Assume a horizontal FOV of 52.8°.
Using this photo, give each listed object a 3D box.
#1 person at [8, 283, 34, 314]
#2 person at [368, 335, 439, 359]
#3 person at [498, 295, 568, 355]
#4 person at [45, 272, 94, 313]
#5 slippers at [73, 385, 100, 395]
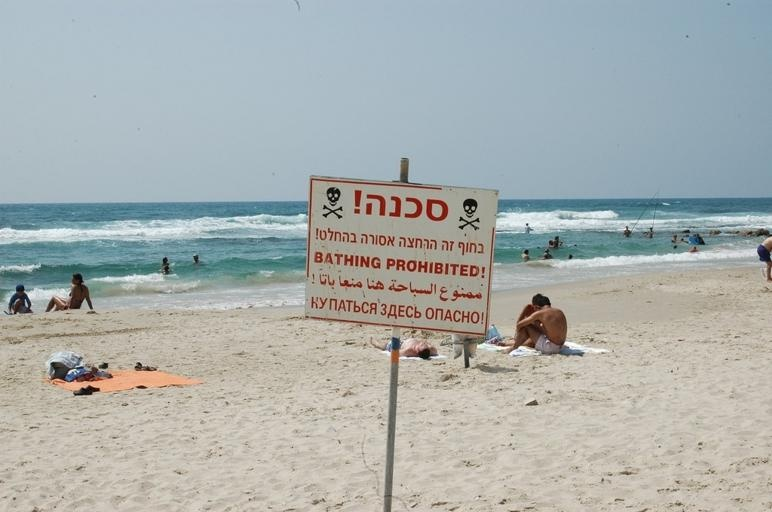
[{"bbox_3d":[-11.523,1.378,24.503,0.809,1.008,0.766,4,-14,-34],"label":"person"},{"bbox_3d":[0.590,1.948,16.752,0.903,0.431,1.330,2,6,-2],"label":"person"},{"bbox_3d":[3.228,1.445,16.422,1.364,1.162,1.028,-1,1,36],"label":"person"},{"bbox_3d":[-9.549,1.201,23.344,2.103,1.211,0.766,-4,-10,29],"label":"person"},{"bbox_3d":[-5.583,2.496,14.490,0.322,0.118,0.185,3,-7,-13],"label":"slippers"}]
